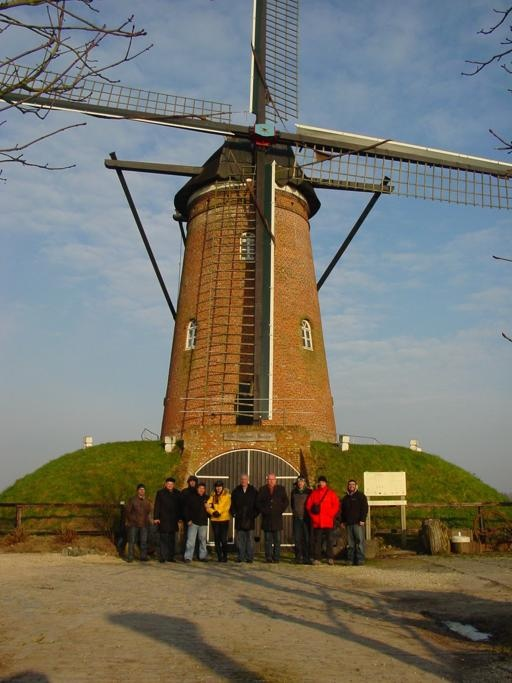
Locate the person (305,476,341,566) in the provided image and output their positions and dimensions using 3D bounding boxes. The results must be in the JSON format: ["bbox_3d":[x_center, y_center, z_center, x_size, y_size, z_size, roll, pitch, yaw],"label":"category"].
[{"bbox_3d":[1.325,3.574,12.294,0.755,1.790,0.485,-13,7,-3],"label":"person"}]

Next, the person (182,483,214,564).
[{"bbox_3d":[-1.203,3.777,12.580,0.716,1.248,1.242,-13,7,-7],"label":"person"}]
